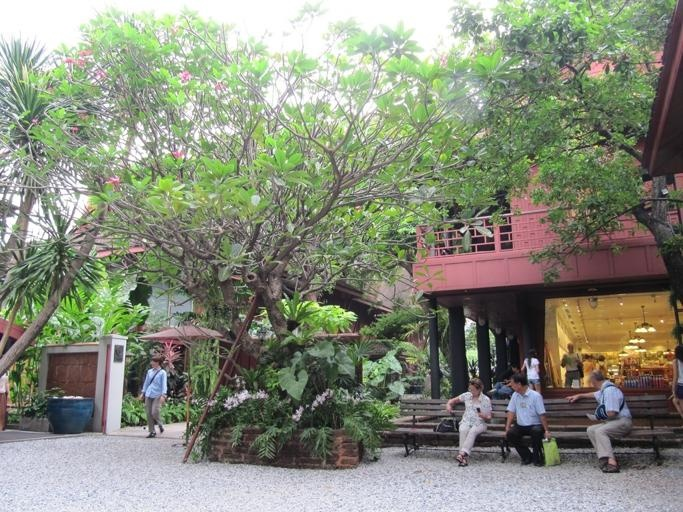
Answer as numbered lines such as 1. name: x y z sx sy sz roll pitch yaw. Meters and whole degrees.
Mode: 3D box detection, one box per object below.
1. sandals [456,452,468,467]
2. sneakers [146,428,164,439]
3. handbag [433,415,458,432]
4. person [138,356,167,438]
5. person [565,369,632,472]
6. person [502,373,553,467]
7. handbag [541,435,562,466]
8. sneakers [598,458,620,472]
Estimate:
1. sandals: 2.076 3.533 8.429 0.120 0.142 0.360 -2 -29 7
2. sneakers: -4.610 4.363 12.061 0.177 0.208 0.495 0 -1 14
3. handbag: 1.955 3.083 9.158 0.376 0.248 0.370 -3 22 15
4. person: -4.697 3.473 12.186 0.562 1.959 1.304 4 -15 -20
5. person: 4.245 2.610 7.827 0.643 1.504 0.508 1 -14 -11
6. person: 3.153 2.792 8.396 0.740 1.501 0.561 -9 -16 28
7. handbag: 3.452 3.238 8.094 0.238 0.464 0.388 -6 -15 18
8. sneakers: 4.158 3.261 7.635 0.201 0.128 0.479 -10 -22 24
